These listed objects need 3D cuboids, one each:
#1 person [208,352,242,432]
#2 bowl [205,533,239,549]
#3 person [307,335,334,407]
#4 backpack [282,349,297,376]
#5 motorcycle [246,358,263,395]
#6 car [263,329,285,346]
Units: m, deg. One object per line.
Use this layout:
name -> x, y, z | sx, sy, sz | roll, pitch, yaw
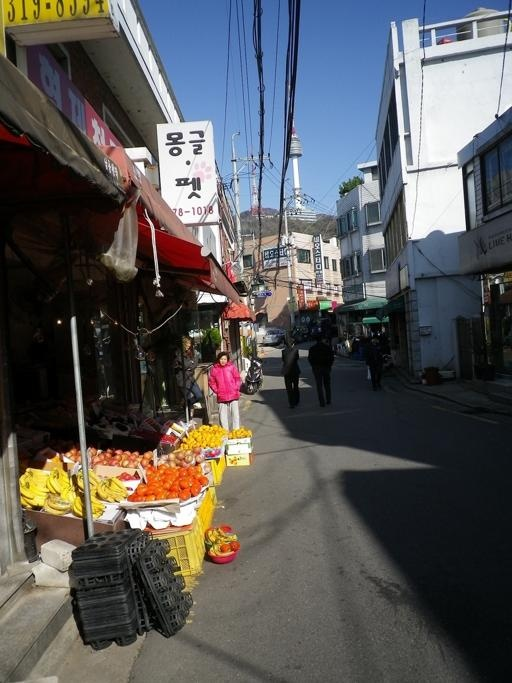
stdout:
person -> -0.583, 1.022, 9.779 | 0.711, 1.642, 0.725 | -2, 3, -31
bowl -> -0.309, 1.723, 4.387 | 0.211, 0.116, 0.167 | -2, -13, 0
person -> 1.841, 0.787, 13.740 | 0.652, 1.963, 0.689 | 1, 13, 14
backpack -> 0.912, 0.530, 13.377 | 0.441, 0.678, 0.489 | -3, -1, 1
motorcycle -> -0.040, 1.190, 18.570 | 0.616, 0.830, 1.243 | 9, 21, 4
car -> 1.868, -0.430, 55.064 | 2.364, 1.741, 1.815 | -3, -1, -8
